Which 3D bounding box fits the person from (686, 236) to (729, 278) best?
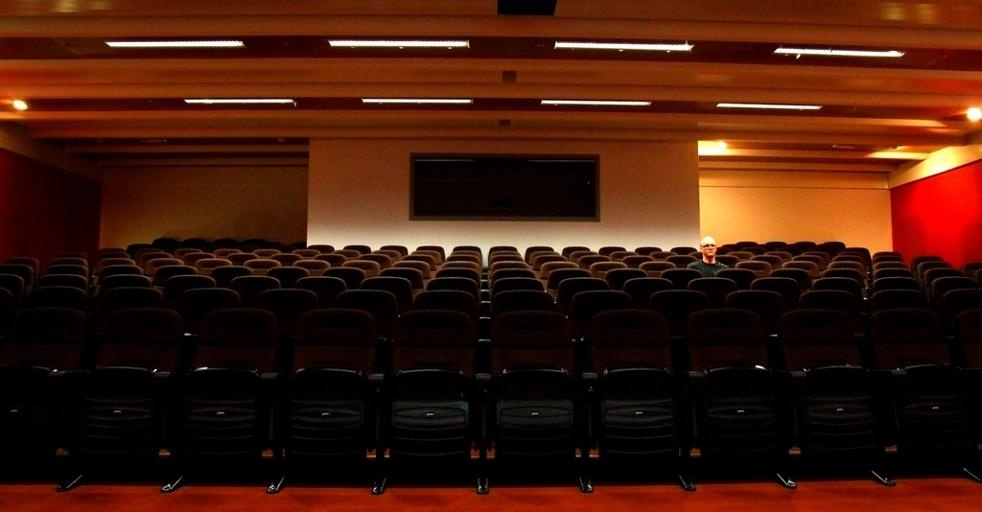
[{"bbox_3d":[3.774,0.010,11.751,1.011,0.650,0.504,-2,-8,10],"label":"person"}]
